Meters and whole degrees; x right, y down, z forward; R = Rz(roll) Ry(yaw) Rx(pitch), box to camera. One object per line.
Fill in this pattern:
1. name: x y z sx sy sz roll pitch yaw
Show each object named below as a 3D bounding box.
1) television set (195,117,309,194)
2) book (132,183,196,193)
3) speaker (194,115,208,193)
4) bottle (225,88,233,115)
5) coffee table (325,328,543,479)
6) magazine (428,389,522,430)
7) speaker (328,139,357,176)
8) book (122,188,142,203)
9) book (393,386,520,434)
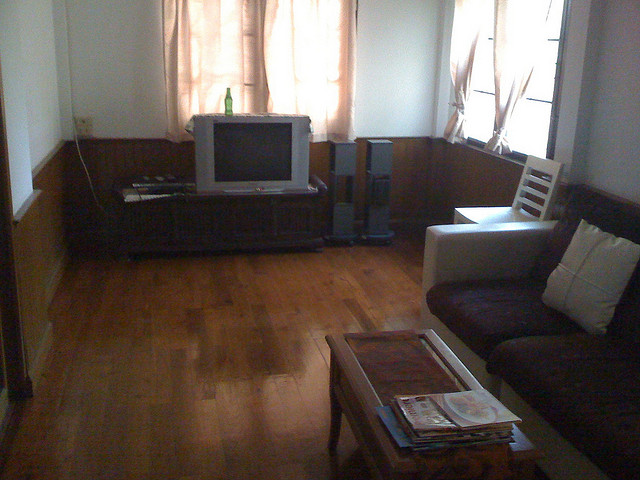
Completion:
1. television set: -0.569 -0.692 4.143 0.979 0.595 0.340 -2 20 -17
2. book: -1.276 -0.430 4.210 0.488 0.047 0.213 -4 21 -13
3. speaker: -0.944 -0.679 4.081 0.109 0.591 0.079 -4 23 -12
4. bottle: -0.766 -1.160 4.272 0.065 0.200 0.275 -3 21 -10
5. coffee table: 0.422 0.624 1.929 0.679 0.409 0.849 1 17 -11
6. magazine: 0.522 0.588 1.768 0.259 0.034 0.231 -2 11 -16
7. speaker: 0.200 -0.716 4.494 0.218 0.297 0.188 -1 22 -5
8. book: -1.490 -0.358 4.063 0.118 0.032 0.122 -12 52 -35
9. book: 0.441 0.583 1.742 0.241 0.029 0.165 -3 15 -13
